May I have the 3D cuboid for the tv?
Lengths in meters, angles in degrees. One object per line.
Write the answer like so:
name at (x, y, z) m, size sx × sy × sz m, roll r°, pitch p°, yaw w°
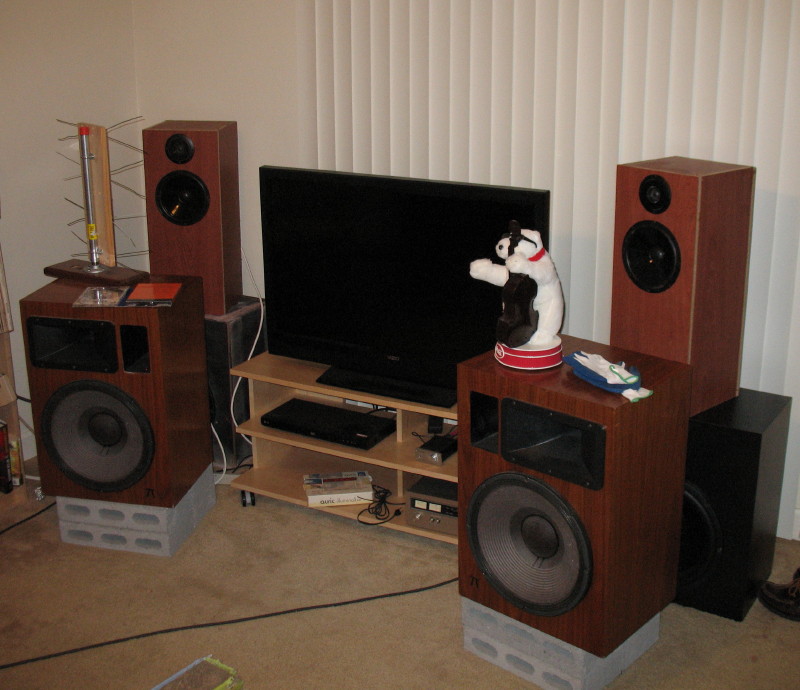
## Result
tv at (-0.010, -0.206, 2.555) m, size 1.020 × 0.767 × 0.257 m, roll 9°, pitch 26°, yaw 16°

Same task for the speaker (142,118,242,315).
speaker at (-0.766, -0.495, 2.844) m, size 0.342 × 0.723 × 0.359 m, roll 11°, pitch 18°, yaw 41°

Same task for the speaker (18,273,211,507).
speaker at (-0.984, 0.147, 2.540) m, size 0.538 × 0.735 × 0.358 m, roll 0°, pitch 14°, yaw 4°

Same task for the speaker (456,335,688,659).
speaker at (0.451, 0.372, 1.939) m, size 0.467 × 0.682 × 0.435 m, roll 12°, pitch 18°, yaw 42°

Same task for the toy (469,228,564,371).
toy at (0.296, -0.128, 1.871) m, size 0.239 × 0.340 × 0.194 m, roll 4°, pitch 11°, yaw 14°
